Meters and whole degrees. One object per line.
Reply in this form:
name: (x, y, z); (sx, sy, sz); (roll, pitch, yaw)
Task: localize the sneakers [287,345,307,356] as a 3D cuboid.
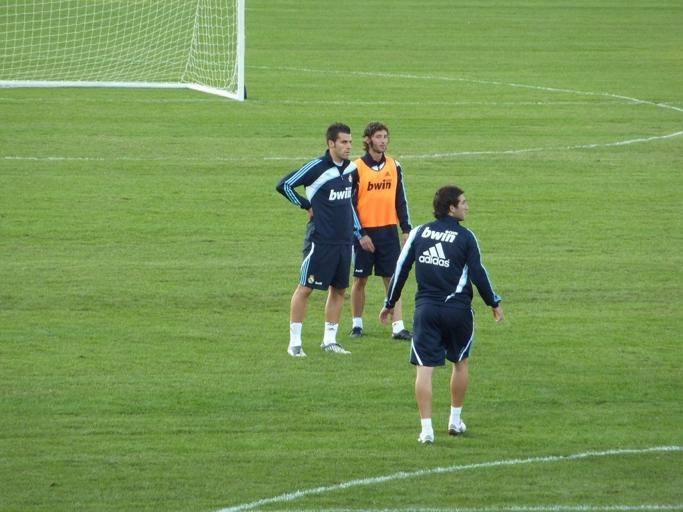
sneakers: (-0.698, 1.420, 25.412); (0.285, 0.114, 0.120); (6, 18, 29)

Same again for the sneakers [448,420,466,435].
sneakers: (1.604, 2.444, 24.020); (0.118, 0.131, 0.318); (4, 7, 31)

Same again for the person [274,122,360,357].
person: (-0.335, -0.247, 25.442); (1.035, 3.472, 0.485); (1, 5, -1)

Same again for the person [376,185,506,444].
person: (1.410, 0.816, 23.943); (1.477, 3.610, 0.615); (1, 5, 0)

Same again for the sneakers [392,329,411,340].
sneakers: (0.900, 1.201, 25.837); (0.236, 0.088, 0.142); (0, 2, 41)

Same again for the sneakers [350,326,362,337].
sneakers: (0.202, 1.161, 25.983); (0.177, 0.111, 0.291); (-1, -1, 0)

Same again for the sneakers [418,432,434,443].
sneakers: (1.157, 2.557, 23.865); (0.217, 0.158, 0.117); (1, 5, 3)

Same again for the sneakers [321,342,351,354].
sneakers: (-0.128, 1.367, 25.533); (0.482, 0.164, 0.154); (5, 3, 7)
